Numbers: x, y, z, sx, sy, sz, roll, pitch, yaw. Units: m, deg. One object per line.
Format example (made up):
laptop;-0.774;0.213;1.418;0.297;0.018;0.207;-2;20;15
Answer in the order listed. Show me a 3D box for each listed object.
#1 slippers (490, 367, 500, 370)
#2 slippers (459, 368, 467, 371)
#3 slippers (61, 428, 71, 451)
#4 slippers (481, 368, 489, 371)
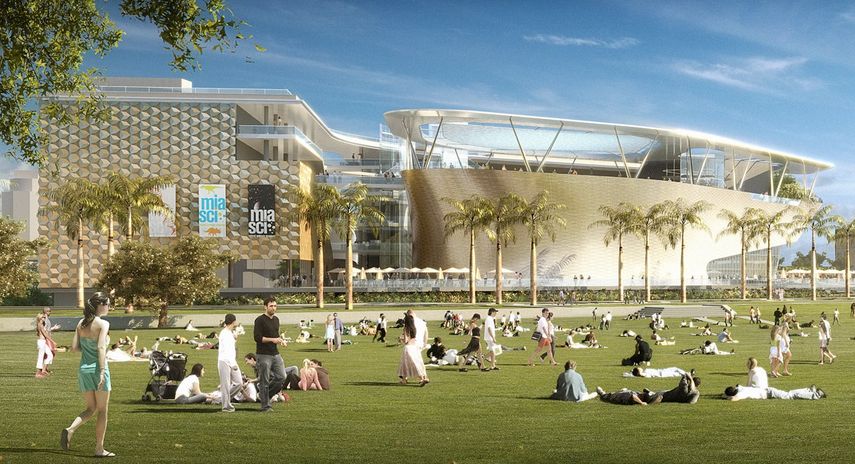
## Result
slippers;3.815;7.898;58.373;0.547;0.184;0.182;-1;-2;-10
slippers;1.980;7.960;58.136;0.485;0.177;0.148;-2;-4;-4
slippers;-17.537;10.173;49.151;0.474;0.982;0.417;0;-8;11
slippers;3.220;7.930;58.089;0.455;0.155;0.154;0;-4;-2
